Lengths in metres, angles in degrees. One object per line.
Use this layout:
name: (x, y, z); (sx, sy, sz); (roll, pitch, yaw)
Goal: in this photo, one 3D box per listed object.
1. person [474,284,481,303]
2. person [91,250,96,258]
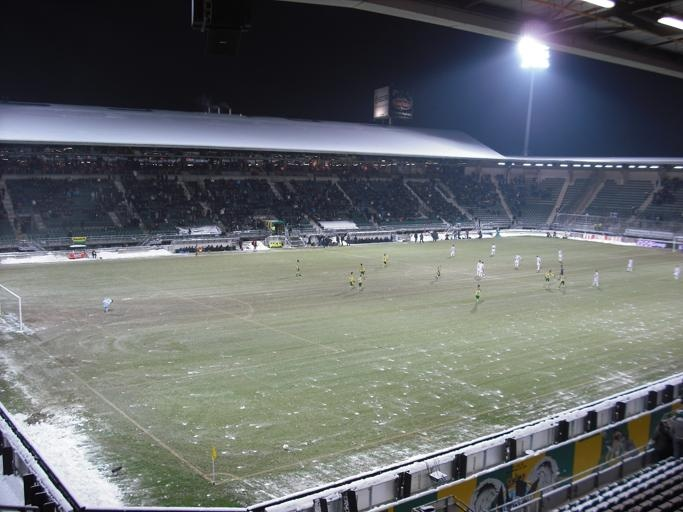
person: (8.605, 2.343, 35.143); (0.337, 1.019, 1.635); (3, 12, 13)
person: (-23.826, -0.163, 53.542); (0.491, 0.639, 0.705); (3, 6, 3)
